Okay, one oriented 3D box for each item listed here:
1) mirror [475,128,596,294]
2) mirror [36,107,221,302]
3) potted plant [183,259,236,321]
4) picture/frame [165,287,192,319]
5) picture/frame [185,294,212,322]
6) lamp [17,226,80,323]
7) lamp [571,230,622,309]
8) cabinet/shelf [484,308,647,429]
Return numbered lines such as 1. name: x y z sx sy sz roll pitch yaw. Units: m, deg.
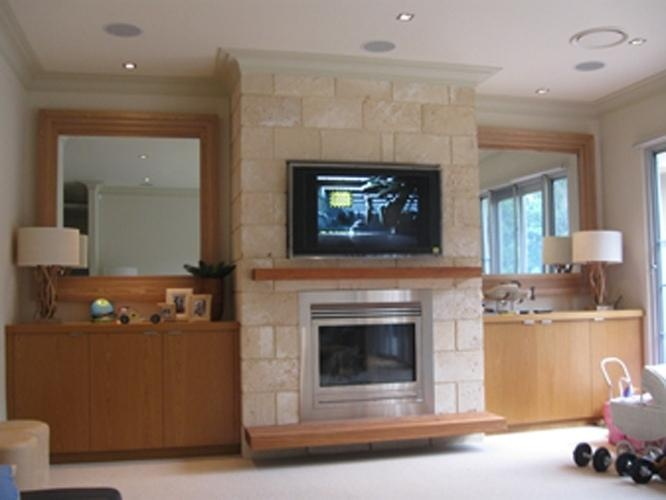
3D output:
1. mirror: 2.266 -0.732 6.449 1.185 1.010 0.125 -4 2 -18
2. mirror: -1.961 -0.379 5.611 1.835 1.671 0.198 0 -1 -11
3. potted plant: -1.208 0.384 5.767 0.514 0.721 0.617 1 -6 -21
4. picture/frame: -1.369 0.481 5.385 0.256 0.309 0.032 0 -5 -7
5. picture/frame: -1.194 0.514 5.356 0.237 0.283 0.029 1 -4 -22
6. lamp: -2.485 0.201 5.318 0.513 0.806 0.465 3 -6 -34
7. lamp: 2.713 0.192 6.215 0.477 0.792 0.533 -3 -6 25
8. cabinet/shelf: 2.135 1.142 5.706 1.098 0.662 0.357 0 -4 -15
